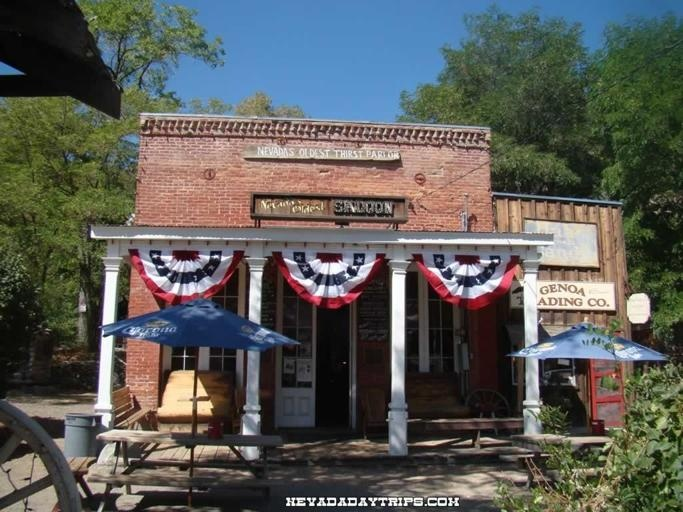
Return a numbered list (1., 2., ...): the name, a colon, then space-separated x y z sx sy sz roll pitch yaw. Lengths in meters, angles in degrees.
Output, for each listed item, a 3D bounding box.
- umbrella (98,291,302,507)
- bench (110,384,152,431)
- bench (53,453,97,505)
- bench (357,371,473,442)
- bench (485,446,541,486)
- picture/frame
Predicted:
1. umbrella: -2.546 2.217 11.446 3.578 2.761 3.307 1 -6 17
2. bench: -4.336 3.181 13.652 0.469 0.719 1.165 1 -11 -7
3. bench: -4.121 3.570 10.474 0.403 0.691 0.896 2 -14 -21
4. bench: 1.698 3.410 15.354 2.609 1.379 0.773 2 -15 -19
5. bench: 3.319 4.147 12.747 0.954 0.291 0.944 1 -6 -8
6. picture/frame: 5.516 -0.271 16.713 1.509 0.897 0.056 1 -6 -9
